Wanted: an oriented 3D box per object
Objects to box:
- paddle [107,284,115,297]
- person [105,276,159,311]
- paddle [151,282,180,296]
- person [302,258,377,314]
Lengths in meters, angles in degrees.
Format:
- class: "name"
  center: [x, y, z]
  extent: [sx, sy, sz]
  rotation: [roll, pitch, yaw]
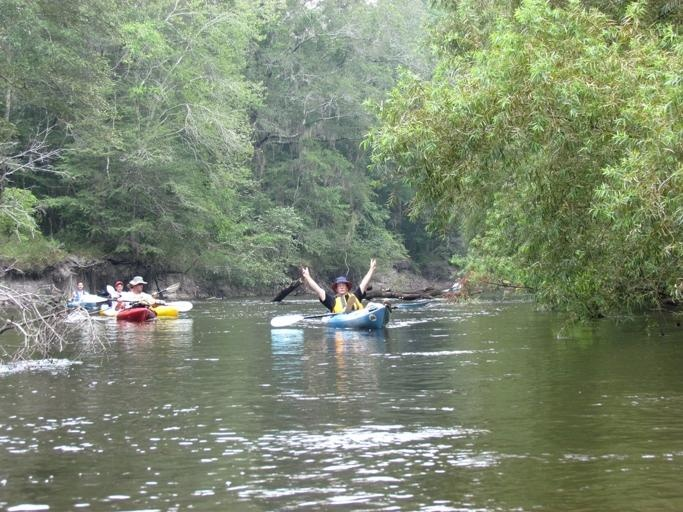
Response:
- class: "paddle"
  center: [-8.741, 1.312, 30.400]
  extent: [0.347, 0.444, 0.458]
  rotation: [8, -7, -43]
- class: "person"
  center: [-6.913, 1.181, 25.758]
  extent: [2.791, 1.141, 1.058]
  rotation: [-8, -5, 39]
- class: "paddle"
  center: [-7.636, 1.384, 34.523]
  extent: [0.180, 0.328, 2.423]
  rotation: [15, -20, -36]
- class: "person"
  center: [0.025, 0.991, 20.912]
  extent: [1.528, 0.788, 1.974]
  rotation: [-3, 14, 2]
